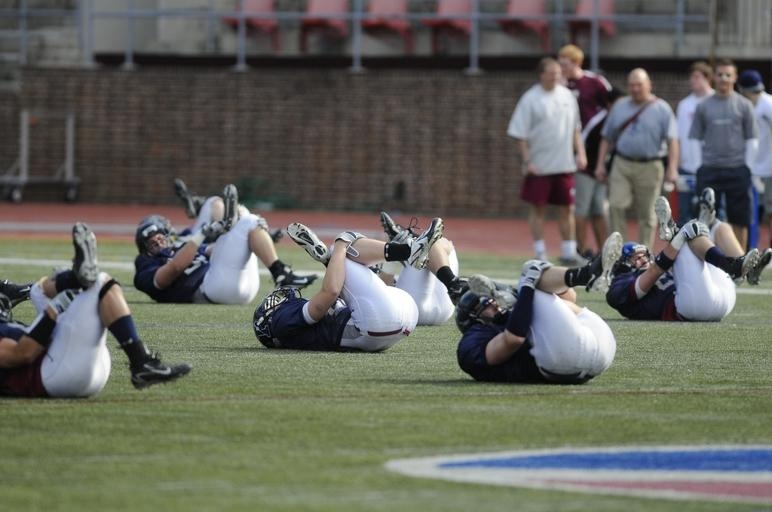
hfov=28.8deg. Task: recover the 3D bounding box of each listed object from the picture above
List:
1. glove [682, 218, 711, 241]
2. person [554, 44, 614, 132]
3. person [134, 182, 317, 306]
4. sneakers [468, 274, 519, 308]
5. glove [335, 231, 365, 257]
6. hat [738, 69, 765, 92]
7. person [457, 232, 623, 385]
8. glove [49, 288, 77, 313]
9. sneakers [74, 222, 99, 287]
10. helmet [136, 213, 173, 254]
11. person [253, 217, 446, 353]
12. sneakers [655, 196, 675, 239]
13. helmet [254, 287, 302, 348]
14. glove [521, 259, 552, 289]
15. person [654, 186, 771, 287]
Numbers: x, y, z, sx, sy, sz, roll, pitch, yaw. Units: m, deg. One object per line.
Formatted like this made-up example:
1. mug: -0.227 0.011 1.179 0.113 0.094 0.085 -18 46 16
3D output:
1. glove: 3.103 -0.255 15.017 0.267 0.167 0.114 4 -35 33
2. person: 2.587 -2.254 19.894 1.022 1.209 0.567 1 27 24
3. person: -1.742 -0.061 16.238 2.042 1.198 1.069 -8 1 19
4. sneakers: 0.969 0.281 13.403 0.373 0.148 0.280 26 9 33
5. glove: -0.305 -0.087 13.938 0.229 0.109 0.232 17 50 12
6. hat: 4.660 -2.230 19.080 0.244 0.336 0.329 -11 11 -32
7. person: 1.385 0.522 13.210 1.712 1.010 1.000 -7 -5 35
8. glove: -2.661 0.377 12.485 0.228 0.075 0.169 -36 19 -10
9. sneakers: -2.464 -0.017 12.446 0.194 0.527 0.243 -4 1 -30
10. helmet: -2.481 -0.237 16.230 0.330 0.399 0.427 -27 -1 3
11. person: -0.351 0.290 14.088 1.702 1.221 0.670 1 4 -2
12. sneakers: 2.852 -0.367 15.435 0.162 0.480 0.202 -11 -29 17
13. helmet: -1.006 0.588 14.323 0.424 0.564 0.435 -2 -21 21
14. glove: 1.283 0.154 12.805 0.250 0.250 0.193 8 9 12
15. person: 3.559 -0.217 15.934 1.270 0.966 2.261 4 5 39
